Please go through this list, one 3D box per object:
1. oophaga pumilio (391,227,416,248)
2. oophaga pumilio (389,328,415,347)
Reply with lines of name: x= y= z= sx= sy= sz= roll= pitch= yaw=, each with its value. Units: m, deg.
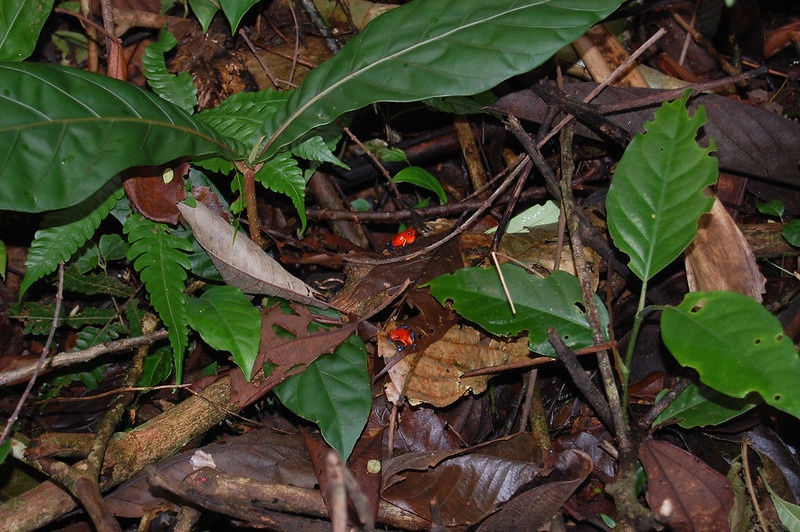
oophaga pumilio: x=0.025 y=-0.149 z=4.105 sx=0.128 sy=0.100 sz=0.050 roll=-36 pitch=64 yaw=-10
oophaga pumilio: x=0.008 y=0.375 z=3.821 sx=0.142 sy=0.064 sz=0.095 roll=1 pitch=60 yaw=-1
